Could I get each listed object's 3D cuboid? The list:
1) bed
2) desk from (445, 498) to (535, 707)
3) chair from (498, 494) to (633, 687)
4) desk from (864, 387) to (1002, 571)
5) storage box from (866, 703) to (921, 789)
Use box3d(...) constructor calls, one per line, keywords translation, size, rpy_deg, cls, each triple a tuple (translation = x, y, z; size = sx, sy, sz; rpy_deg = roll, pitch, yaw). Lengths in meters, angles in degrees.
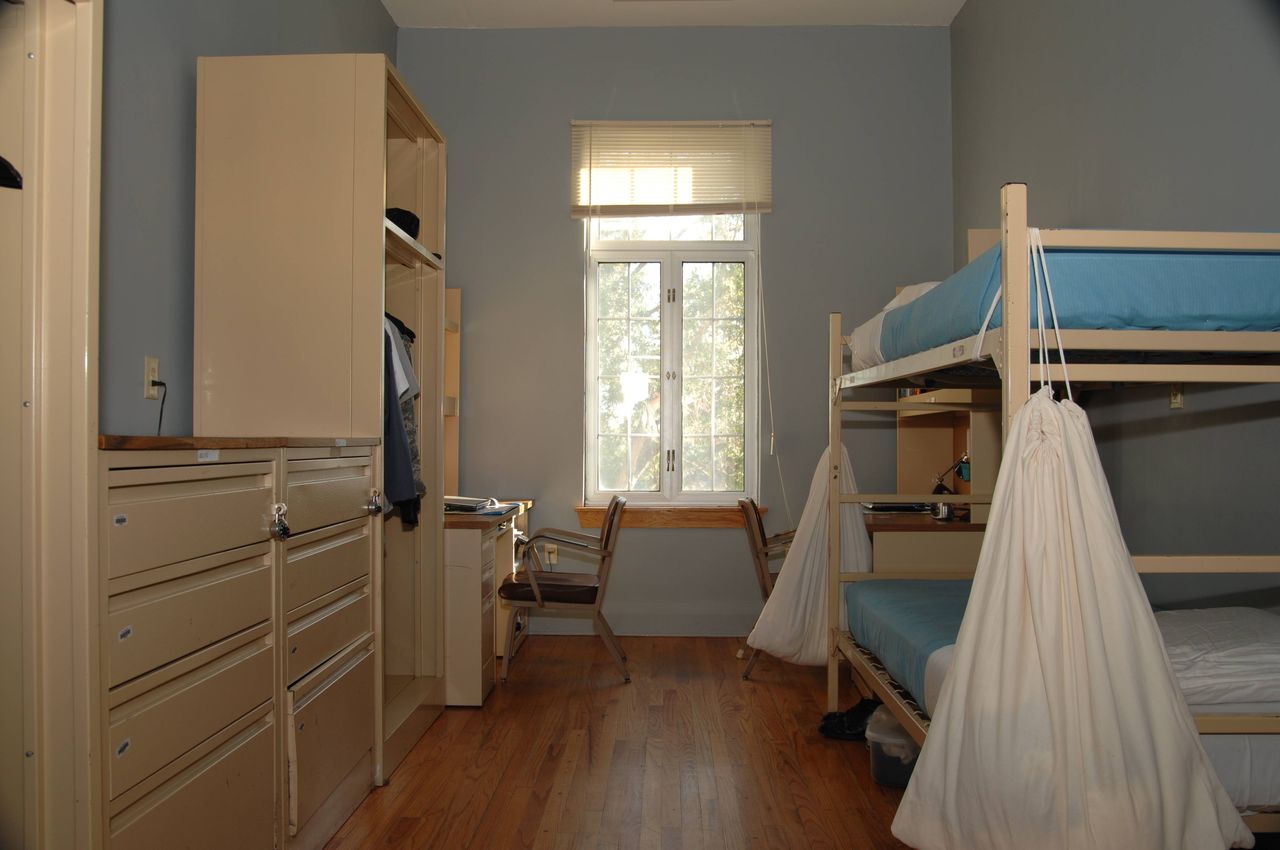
box3d(translation=(1.454, 0.214, 3.650), size=(1.145, 2.315, 1.846), rpy_deg=(2, 7, -2), cls="bed")
box3d(translation=(-0.741, 0.875, 4.617), size=(0.292, 0.577, 0.923), rpy_deg=(0, -1, -5), cls="desk")
box3d(translation=(-0.404, 0.832, 5.143), size=(0.835, 1.056, 0.746), rpy_deg=(2, -5, -3), cls="chair")
box3d(translation=(1.483, 0.312, 4.969), size=(0.554, 0.996, 1.061), rpy_deg=(3, 3, 8), cls="desk")
box3d(translation=(0.967, 1.271, 3.743), size=(0.217, 0.241, 0.093), rpy_deg=(4, -6, 2), cls="storage box")
